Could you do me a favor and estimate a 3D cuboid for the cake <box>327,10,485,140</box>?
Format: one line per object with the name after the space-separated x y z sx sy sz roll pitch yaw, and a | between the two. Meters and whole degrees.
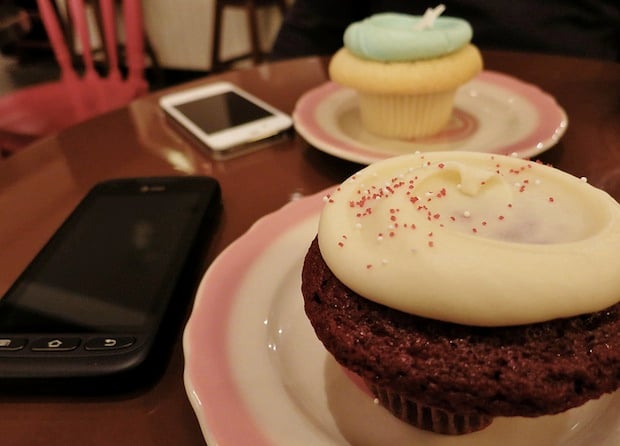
0.316 -0.532 1.904 0.444 0.337 0.456 23 40 38 | cake
